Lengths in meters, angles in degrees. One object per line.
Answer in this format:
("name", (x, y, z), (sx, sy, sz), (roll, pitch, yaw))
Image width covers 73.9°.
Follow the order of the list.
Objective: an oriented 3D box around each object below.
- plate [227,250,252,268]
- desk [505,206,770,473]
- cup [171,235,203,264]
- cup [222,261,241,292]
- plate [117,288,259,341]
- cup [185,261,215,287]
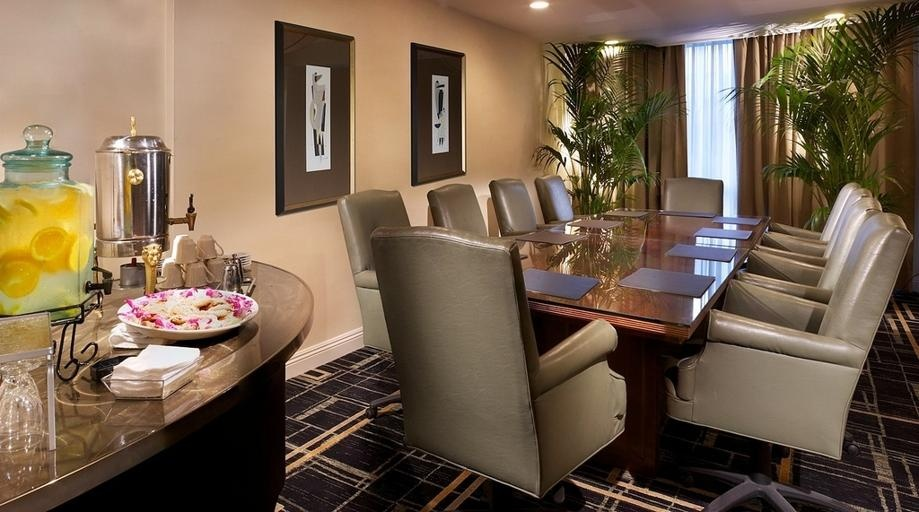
("plate", (-1.184, 0.015, 3.266), (0.118, 0.045, 0.115), (4, 9, 24))
("desk", (1.663, 0.888, 4.304), (2.617, 0.710, 1.177), (13, -4, -40))
("cup", (-1.421, -0.036, 3.187), (0.162, 0.143, 0.153), (-2, 2, 0))
("cup", (-1.143, 0.115, 3.083), (0.084, 0.123, 0.139), (-6, 10, -27))
("plate", (-1.206, 0.255, 2.705), (0.576, 0.170, 0.318), (-5, 14, -9))
("cup", (-1.348, 0.102, 3.173), (0.120, 0.109, 0.137), (0, -2, 19))
